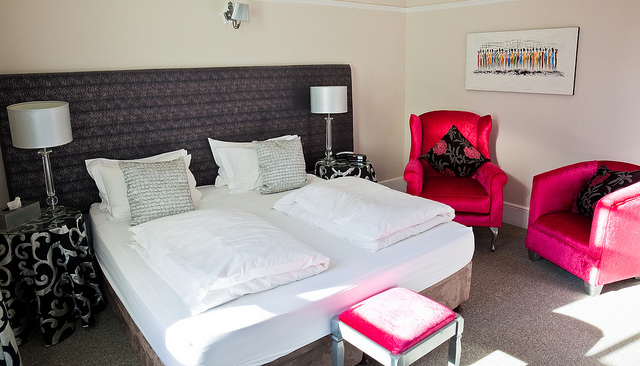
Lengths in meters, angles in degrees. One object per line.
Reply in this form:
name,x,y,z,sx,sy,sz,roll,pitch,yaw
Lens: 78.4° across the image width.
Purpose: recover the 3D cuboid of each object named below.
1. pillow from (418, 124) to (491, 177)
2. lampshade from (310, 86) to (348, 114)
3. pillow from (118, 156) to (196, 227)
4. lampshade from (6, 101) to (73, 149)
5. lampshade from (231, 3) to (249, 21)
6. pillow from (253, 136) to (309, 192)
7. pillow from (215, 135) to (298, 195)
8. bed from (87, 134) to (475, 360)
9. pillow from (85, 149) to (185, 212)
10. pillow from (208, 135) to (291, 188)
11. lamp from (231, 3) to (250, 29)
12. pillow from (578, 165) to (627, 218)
pillow,1.861,-0.428,5.455,0.711,0.734,0.226,-44,-12,9
lampshade,0.104,-1.123,5.309,0.406,0.248,0.402,11,16,44
pillow,-1.711,0.105,4.063,0.703,0.556,0.333,-9,14,-30
lampshade,-2.787,-0.576,3.923,0.556,0.379,0.506,-11,19,-38
lampshade,-0.963,-2.080,4.831,0.212,0.210,0.205,5,12,-7
pillow,-0.481,-0.216,4.742,0.691,0.594,0.208,-8,-6,-33
pillow,-0.811,-0.194,4.664,0.778,0.509,0.222,-13,7,-41
bed,-0.831,0.439,4.078,2.868,1.142,2.615,-9,21,-30
pillow,-2.002,-0.001,4.186,0.668,0.423,0.095,-19,20,-28
pillow,-0.883,-0.239,4.806,0.677,0.399,0.076,-9,3,-36
lamp,-0.992,-2.067,4.871,0.254,0.308,0.246,-13,21,-39
pillow,3.247,0.115,4.517,0.386,0.538,0.368,-12,19,-25
